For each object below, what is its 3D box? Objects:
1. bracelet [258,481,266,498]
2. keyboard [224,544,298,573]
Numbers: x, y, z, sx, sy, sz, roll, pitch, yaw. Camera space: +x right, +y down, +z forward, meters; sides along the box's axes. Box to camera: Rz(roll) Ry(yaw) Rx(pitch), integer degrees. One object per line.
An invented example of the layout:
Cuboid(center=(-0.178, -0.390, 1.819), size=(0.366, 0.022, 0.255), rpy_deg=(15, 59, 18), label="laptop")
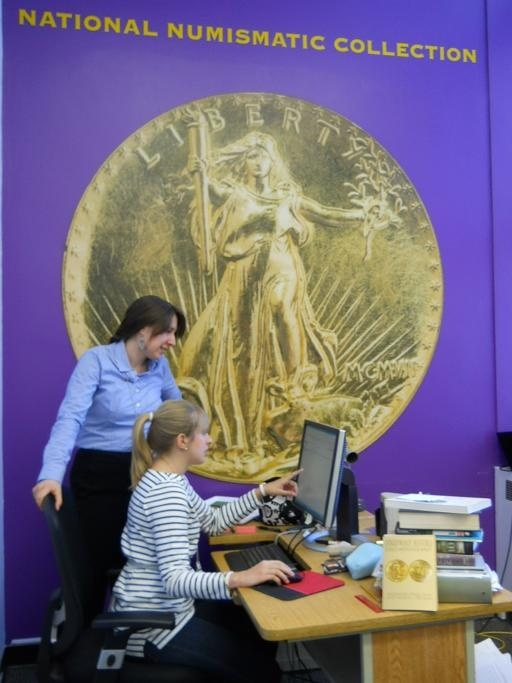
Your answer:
Cuboid(center=(0.025, 0.524, 2.317), size=(0.026, 0.045, 0.035), rpy_deg=(3, -7, 3), label="bracelet")
Cuboid(center=(0.003, 0.735, 2.248), size=(0.119, 0.032, 0.158), rpy_deg=(15, 5, -9), label="keyboard")
